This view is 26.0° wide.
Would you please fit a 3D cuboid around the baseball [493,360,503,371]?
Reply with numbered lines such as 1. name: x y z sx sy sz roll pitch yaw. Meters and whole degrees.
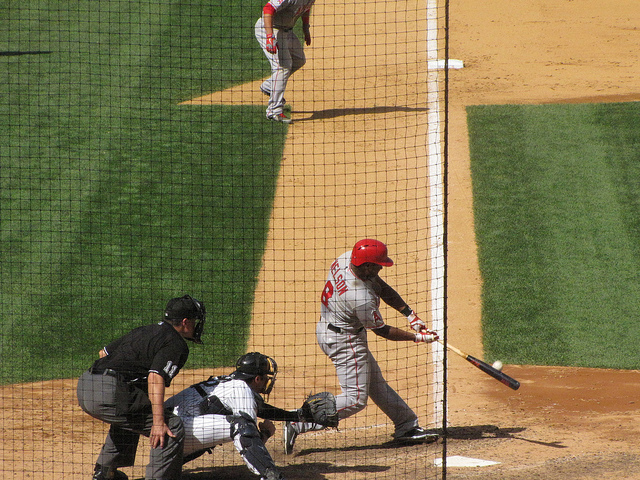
1. baseball: 2.581 1.860 20.227 0.141 0.121 0.109 4 41 -3

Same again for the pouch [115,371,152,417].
1. pouch: -2.472 2.050 18.211 0.462 0.616 0.574 0 78 2

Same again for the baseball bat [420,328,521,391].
1. baseball bat: 2.115 1.695 19.990 1.849 0.155 0.172 29 60 32

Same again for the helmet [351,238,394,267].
1. helmet: 0.703 0.175 19.159 0.523 0.248 0.342 0 17 0

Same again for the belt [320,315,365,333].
1. belt: 0.282 1.238 19.291 0.617 0.093 0.161 9 44 10

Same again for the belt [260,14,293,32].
1. belt: -0.702 -3.823 24.576 0.476 0.296 0.160 -30 52 -27
